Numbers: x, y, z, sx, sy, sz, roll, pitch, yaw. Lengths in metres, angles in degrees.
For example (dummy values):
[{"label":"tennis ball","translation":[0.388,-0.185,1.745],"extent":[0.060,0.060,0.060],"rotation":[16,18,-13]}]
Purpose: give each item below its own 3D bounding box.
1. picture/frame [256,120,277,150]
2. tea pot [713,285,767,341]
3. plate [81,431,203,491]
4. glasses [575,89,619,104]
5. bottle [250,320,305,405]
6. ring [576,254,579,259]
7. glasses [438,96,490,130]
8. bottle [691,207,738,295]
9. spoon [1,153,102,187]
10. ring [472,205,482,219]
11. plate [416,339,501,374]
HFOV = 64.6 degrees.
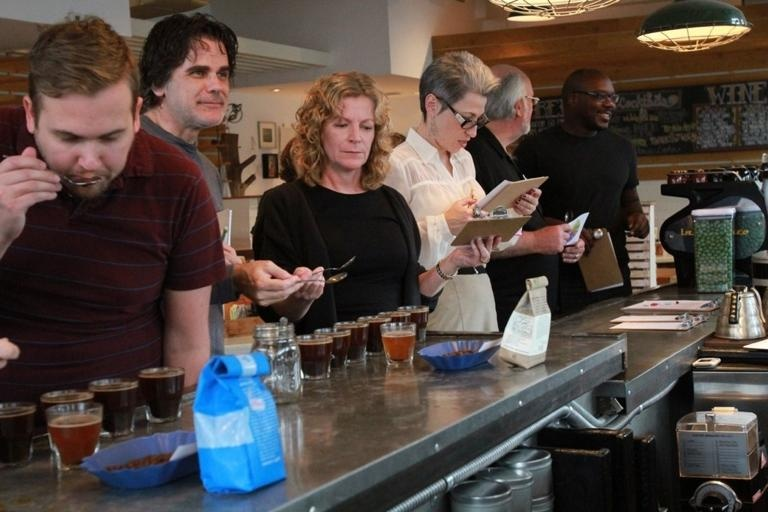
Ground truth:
[{"label":"picture/frame","translation":[-1.879,-1.929,9.649],"extent":[0.056,0.504,0.556],"rotation":[-1,-1,34]},{"label":"tea pot","translation":[1.733,0.268,2.951],"extent":[0.259,0.242,0.264],"rotation":[-1,-1,0]},{"label":"plate","translation":[-0.505,0.422,1.271],"extent":[0.223,0.087,0.190],"rotation":[-5,10,-27]},{"label":"glasses","translation":[1.496,-1.141,4.303],"extent":[0.154,0.045,0.152],"rotation":[20,13,41]},{"label":"bottle","translation":[-0.282,0.284,1.639],"extent":[0.134,0.231,0.087],"rotation":[-4,9,-21]},{"label":"ring","translation":[1.184,0.003,3.712],"extent":[0.020,0.025,0.008],"rotation":[-2,-13,2]},{"label":"glasses","translation":[0.385,-0.732,3.009],"extent":[0.188,0.056,0.185],"rotation":[45,26,19]},{"label":"bottle","translation":[2.147,-0.034,3.982],"extent":[0.256,0.568,0.147],"rotation":[3,10,24]},{"label":"spoon","translation":[-0.823,-0.214,1.505],"extent":[0.211,0.039,0.035],"rotation":[15,13,-31]},{"label":"ring","translation":[0.419,-0.196,2.746],"extent":[0.019,0.052,0.039],"rotation":[4,-16,15]},{"label":"plate","translation":[0.264,0.316,2.010],"extent":[0.198,0.069,0.324],"rotation":[4,10,32]}]
